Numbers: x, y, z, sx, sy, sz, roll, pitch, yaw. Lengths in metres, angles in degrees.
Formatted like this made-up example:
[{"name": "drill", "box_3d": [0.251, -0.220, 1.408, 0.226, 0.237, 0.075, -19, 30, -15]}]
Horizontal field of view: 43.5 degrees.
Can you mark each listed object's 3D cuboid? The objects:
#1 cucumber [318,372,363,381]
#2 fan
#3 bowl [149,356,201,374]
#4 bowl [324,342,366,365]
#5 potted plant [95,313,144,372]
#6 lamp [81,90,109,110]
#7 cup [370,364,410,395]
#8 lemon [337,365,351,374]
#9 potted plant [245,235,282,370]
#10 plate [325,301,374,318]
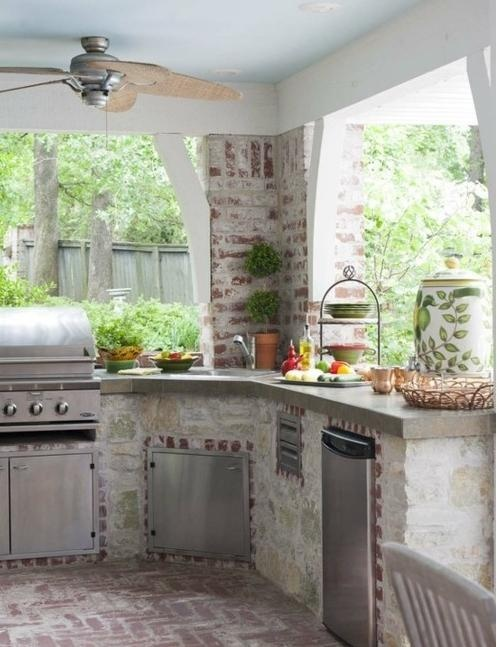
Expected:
[{"name": "cucumber", "box_3d": [0.462, 0.277, 3.140, 0.228, 0.027, 0.113, -1, 0, 5]}, {"name": "fan", "box_3d": [-0.773, -1.428, 3.519, 0.757, 0.193, 0.659, 0, 0, 6]}, {"name": "bowl", "box_3d": [-0.490, 0.273, 4.166, 0.303, 0.093, 0.165, -1, 0, -8]}, {"name": "bowl", "box_3d": [0.583, 0.168, 3.677, 0.195, 0.073, 0.140, 0, 2, 7]}, {"name": "potted plant", "box_3d": [-0.876, 0.119, 4.324, 0.360, 0.382, 0.404, -5, 6, -33]}, {"name": "lamp", "box_3d": [-0.738, -1.079, 3.015, 0.092, 0.058, 0.091, -1, -2, 40]}, {"name": "cup", "box_3d": [0.620, 0.253, 2.766, 0.122, 0.080, 0.151, -2, -5, 41]}, {"name": "lemon", "box_3d": [0.502, 0.243, 3.284, 0.053, 0.047, 0.048, 0, -10, -6]}, {"name": "potted plant", "box_3d": [0.098, -0.149, 4.422, 0.268, 0.660, 0.363, -1, 0, 3]}, {"name": "plate", "box_3d": [0.576, -0.077, 3.634, 0.279, 0.097, 0.156, -1, 0, 11]}]
